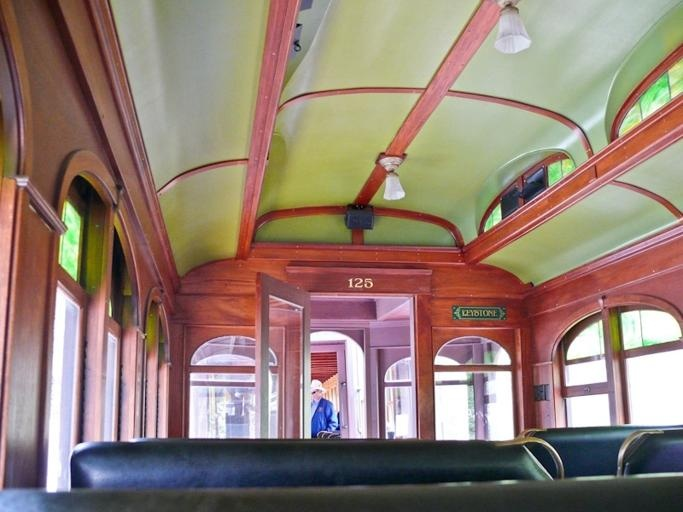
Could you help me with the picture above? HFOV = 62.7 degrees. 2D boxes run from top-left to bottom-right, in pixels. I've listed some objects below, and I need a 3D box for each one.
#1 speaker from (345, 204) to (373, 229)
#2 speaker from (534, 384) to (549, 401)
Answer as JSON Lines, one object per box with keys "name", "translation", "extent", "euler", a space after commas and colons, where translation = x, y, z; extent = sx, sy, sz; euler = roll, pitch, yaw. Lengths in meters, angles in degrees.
{"name": "speaker", "translation": [0.228, -0.489, 6.931], "extent": [0.361, 0.271, 0.253], "euler": [-1, 14, -7]}
{"name": "speaker", "translation": [2.425, 1.652, 6.814], "extent": [0.122, 0.167, 0.232], "euler": [2, -10, -11]}
